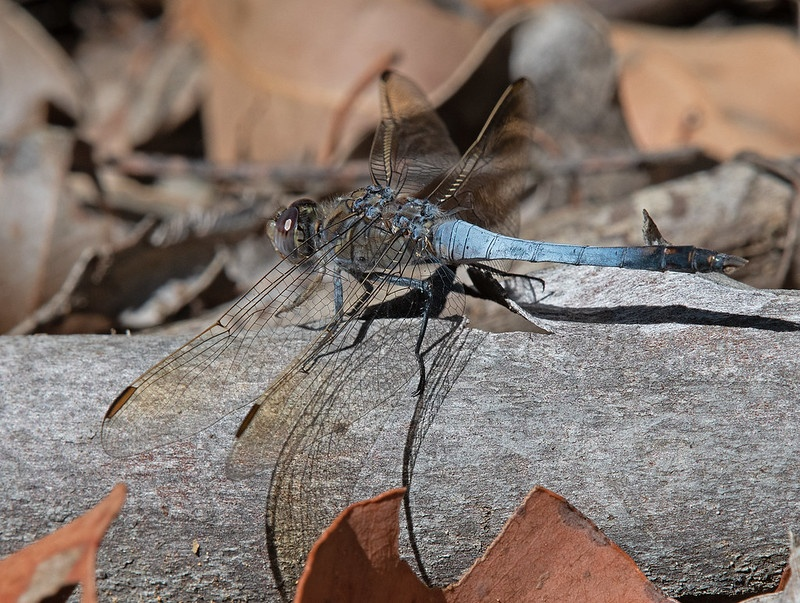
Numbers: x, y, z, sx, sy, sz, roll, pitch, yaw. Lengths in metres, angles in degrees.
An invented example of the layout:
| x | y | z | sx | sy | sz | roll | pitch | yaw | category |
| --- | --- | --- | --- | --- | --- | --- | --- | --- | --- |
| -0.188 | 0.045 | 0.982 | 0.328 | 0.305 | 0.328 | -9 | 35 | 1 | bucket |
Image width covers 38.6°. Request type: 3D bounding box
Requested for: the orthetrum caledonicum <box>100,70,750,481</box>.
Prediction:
| x | y | z | sx | sy | sz | roll | pitch | yaw | category |
| --- | --- | --- | --- | --- | --- | --- | --- | --- | --- |
| -0.035 | -0.024 | 2.037 | 0.853 | 0.865 | 0.711 | -2 | -72 | -16 | orthetrum caledonicum |
